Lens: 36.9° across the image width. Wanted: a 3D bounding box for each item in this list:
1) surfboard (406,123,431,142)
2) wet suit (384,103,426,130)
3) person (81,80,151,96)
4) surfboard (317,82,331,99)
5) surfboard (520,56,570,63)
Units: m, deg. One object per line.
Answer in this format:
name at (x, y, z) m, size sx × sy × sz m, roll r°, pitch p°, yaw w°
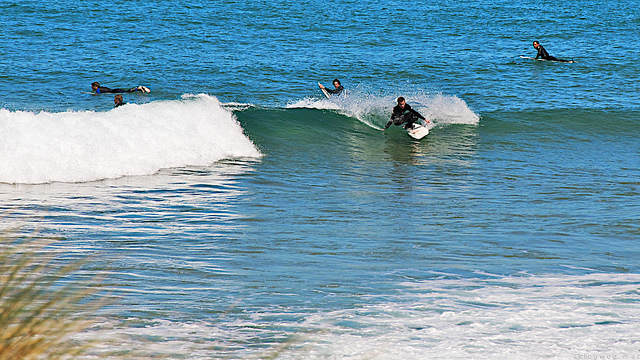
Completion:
surfboard at (4.362, -2.138, 42.906) m, size 0.659 × 0.638 × 0.870 m, roll 16°, pitch 29°, yaw 35°
wet suit at (3.816, -2.852, 43.480) m, size 1.876 × 0.950 × 0.872 m, roll -15°, pitch 22°, yaw -19°
person at (-10.592, -4.708, 49.908) m, size 3.260 × 0.387 × 1.314 m, roll 0°, pitch 5°, yaw 3°
surfboard at (0.262, -4.328, 46.325) m, size 0.376 × 1.126 × 0.110 m, roll -45°, pitch 27°, yaw 17°
surfboard at (13.222, -7.414, 58.733) m, size 2.248 × 0.232 × 0.148 m, roll 16°, pitch 38°, yaw 34°
